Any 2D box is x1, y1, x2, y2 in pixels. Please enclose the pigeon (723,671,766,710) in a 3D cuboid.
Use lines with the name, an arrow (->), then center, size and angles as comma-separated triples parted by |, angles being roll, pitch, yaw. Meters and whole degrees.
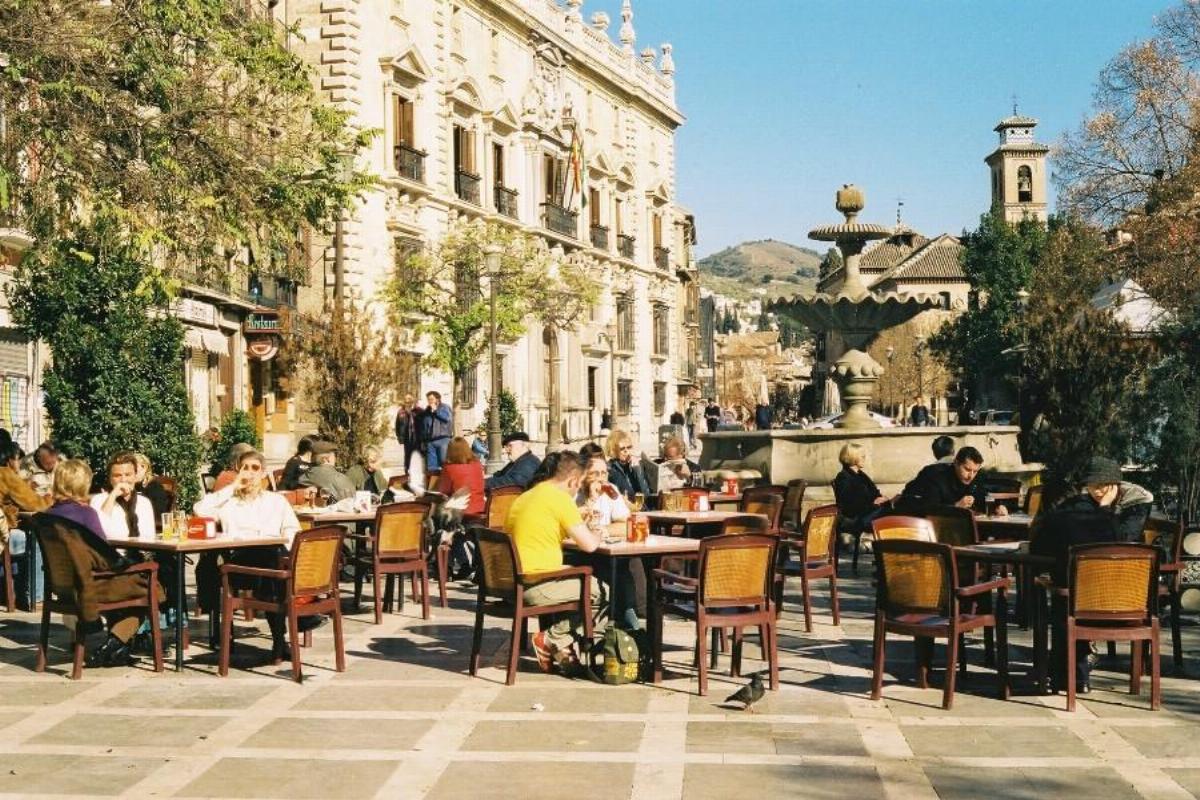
pigeon -> 1.587, 3.287, 18.945 | 0.423, 0.359, 0.294 | -3, -7, 3

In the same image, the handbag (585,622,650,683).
handbag -> 0.220, 3.017, 19.947 | 0.508, 0.719, 0.739 | -3, -8, 23

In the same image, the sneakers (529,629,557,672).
sneakers -> -0.661, 2.991, 20.048 | 0.272, 0.484, 0.138 | -4, 9, 18

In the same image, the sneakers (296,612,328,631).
sneakers -> -3.523, 2.759, 21.034 | 0.445, 0.180, 0.142 | -19, -35, -34

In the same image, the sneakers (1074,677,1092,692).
sneakers -> 5.472, 3.286, 19.414 | 0.129, 0.102, 0.133 | 0, -5, -5

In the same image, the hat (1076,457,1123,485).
hat -> 5.683, 0.832, 19.513 | 0.404, 0.357, 0.351 | 3, 14, 17

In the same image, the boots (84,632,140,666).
boots -> -5.747, 3.041, 20.520 | 0.834, 0.381, 0.285 | 3, -3, -7
